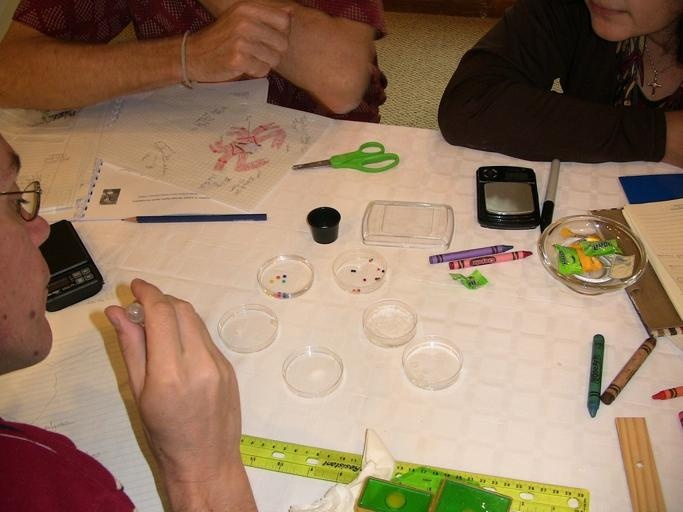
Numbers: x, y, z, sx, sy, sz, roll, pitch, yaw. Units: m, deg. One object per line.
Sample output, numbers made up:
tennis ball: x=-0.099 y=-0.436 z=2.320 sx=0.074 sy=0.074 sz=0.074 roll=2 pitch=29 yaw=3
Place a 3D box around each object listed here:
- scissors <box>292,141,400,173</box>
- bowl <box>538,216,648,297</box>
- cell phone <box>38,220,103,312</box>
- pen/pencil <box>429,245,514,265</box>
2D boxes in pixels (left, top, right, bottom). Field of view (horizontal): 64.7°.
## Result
scissors: x=0.025 y=-0.326 z=1.615 sx=0.278 sy=0.098 sz=0.210 roll=14 pitch=29 yaw=31
bowl: x=0.642 y=0.006 z=1.395 sx=0.258 sy=0.099 sz=0.254 roll=-5 pitch=46 yaw=5
cell phone: x=-0.750 y=0.016 z=1.507 sx=0.147 sy=0.066 sz=0.243 roll=-27 pitch=62 yaw=-14
pen/pencil: x=0.348 y=-0.001 z=1.428 sx=0.230 sy=0.027 sz=0.027 roll=-5 pitch=94 yaw=-1
